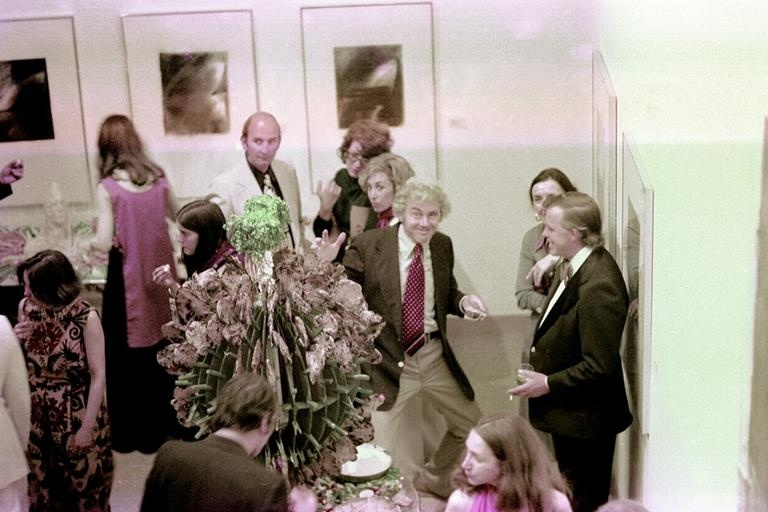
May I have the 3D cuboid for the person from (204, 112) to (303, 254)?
[{"bbox_3d":[-0.917,-0.555,4.824,0.665,0.993,0.166,0,0,6],"label":"person"}]

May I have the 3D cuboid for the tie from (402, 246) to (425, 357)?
[{"bbox_3d":[0.198,0.292,4.466,0.151,0.731,0.051,1,0,2],"label":"tie"}]

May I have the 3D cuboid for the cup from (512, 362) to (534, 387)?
[{"bbox_3d":[0.880,0.746,4.186,0.137,0.132,0.138,1,-4,0],"label":"cup"}]

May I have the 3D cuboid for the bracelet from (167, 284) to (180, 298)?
[{"bbox_3d":[-1.228,0.199,3.883,0.070,0.095,0.034,-5,-6,20],"label":"bracelet"}]

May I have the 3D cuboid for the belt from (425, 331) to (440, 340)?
[{"bbox_3d":[0.340,0.552,4.549,0.052,0.073,0.067,2,-8,-17],"label":"belt"}]
